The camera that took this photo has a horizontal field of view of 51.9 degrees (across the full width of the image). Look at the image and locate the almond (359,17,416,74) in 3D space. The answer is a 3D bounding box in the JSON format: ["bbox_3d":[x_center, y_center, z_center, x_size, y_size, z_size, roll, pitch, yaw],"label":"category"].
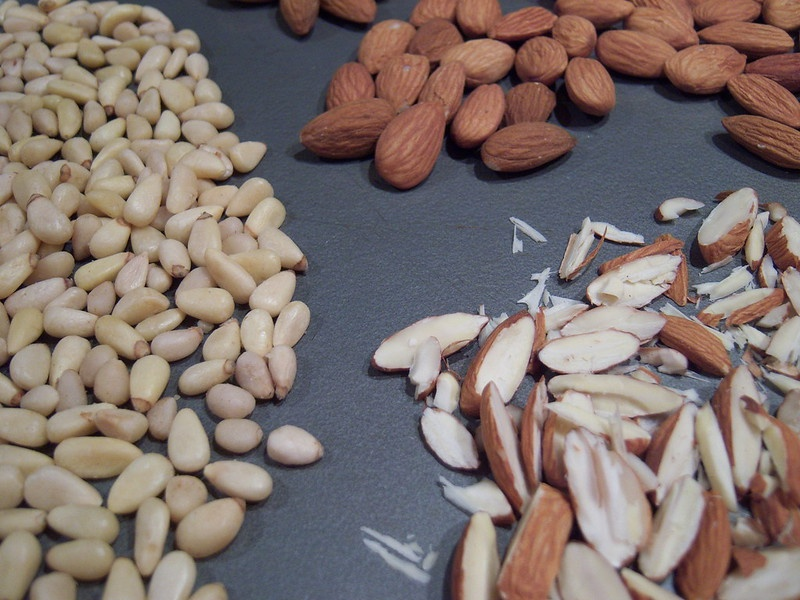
[{"bbox_3d":[-0.023,-0.502,1.663,0.077,0.069,0.122,31,73,30],"label":"almond"}]

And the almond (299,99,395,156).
[{"bbox_3d":[-0.111,-0.331,1.522,0.146,0.076,0.092,-23,101,-32],"label":"almond"}]
